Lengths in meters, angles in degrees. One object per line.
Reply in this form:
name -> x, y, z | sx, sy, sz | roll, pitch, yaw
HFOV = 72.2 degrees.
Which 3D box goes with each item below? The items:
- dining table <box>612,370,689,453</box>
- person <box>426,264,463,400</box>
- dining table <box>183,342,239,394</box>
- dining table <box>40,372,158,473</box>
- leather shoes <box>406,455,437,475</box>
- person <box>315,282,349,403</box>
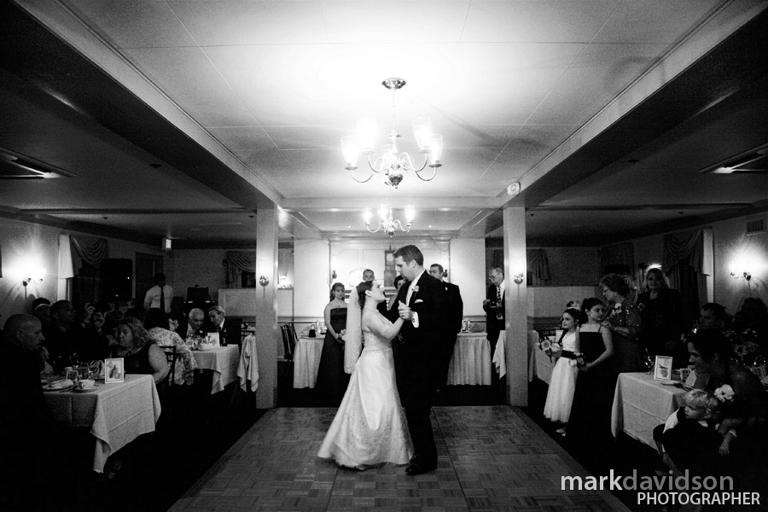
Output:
dining table -> 2.858, 1.679, 5.816 | 0.708, 0.751, 1.020 | 3, -7, 2
person -> 0.651, 0.867, 6.497 | 0.610, 1.691, 0.509 | 3, 23, 11
dining table -> -2.694, 1.666, 8.062 | 0.596, 0.404, 0.819 | 0, -3, 1
dining table -> -3.330, 1.765, 6.006 | 1.256, 0.645, 1.435 | 3, 0, -5
leather shoes -> 0.423, 2.367, 5.953 | 0.387, 0.270, 0.150 | 4, -12, -5
person -> -0.881, 1.446, 8.814 | 0.524, 1.899, 0.871 | -1, 4, -5
